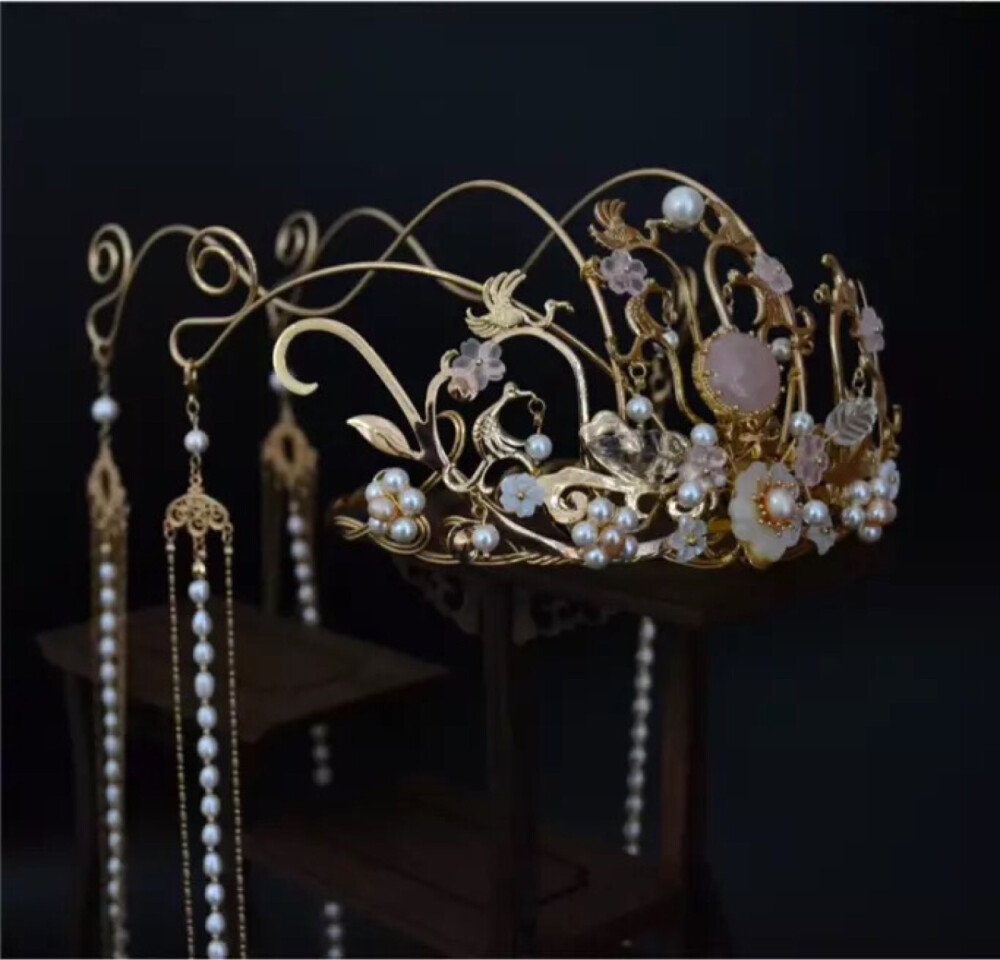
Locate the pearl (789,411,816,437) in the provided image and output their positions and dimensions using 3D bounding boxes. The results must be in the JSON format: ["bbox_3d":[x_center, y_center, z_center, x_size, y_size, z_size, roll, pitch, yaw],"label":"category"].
[{"bbox_3d":[0.419,-0.076,2.736,0.036,0.033,0.034,-1,-6,3],"label":"pearl"}]

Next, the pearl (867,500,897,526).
[{"bbox_3d":[0.539,0.046,2.777,0.041,0.038,0.022,10,-5,-11],"label":"pearl"}]

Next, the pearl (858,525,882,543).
[{"bbox_3d":[0.527,0.075,2.810,0.037,0.020,0.035,-8,27,-8],"label":"pearl"}]

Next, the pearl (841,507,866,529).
[{"bbox_3d":[0.495,0.052,2.760,0.033,0.035,0.030,-10,7,-22],"label":"pearl"}]

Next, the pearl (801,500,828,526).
[{"bbox_3d":[0.434,0.049,2.714,0.037,0.040,0.034,-8,-23,4],"label":"pearl"}]

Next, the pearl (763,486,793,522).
[{"bbox_3d":[0.382,0.031,2.688,0.043,0.049,0.043,-2,-3,20],"label":"pearl"}]
